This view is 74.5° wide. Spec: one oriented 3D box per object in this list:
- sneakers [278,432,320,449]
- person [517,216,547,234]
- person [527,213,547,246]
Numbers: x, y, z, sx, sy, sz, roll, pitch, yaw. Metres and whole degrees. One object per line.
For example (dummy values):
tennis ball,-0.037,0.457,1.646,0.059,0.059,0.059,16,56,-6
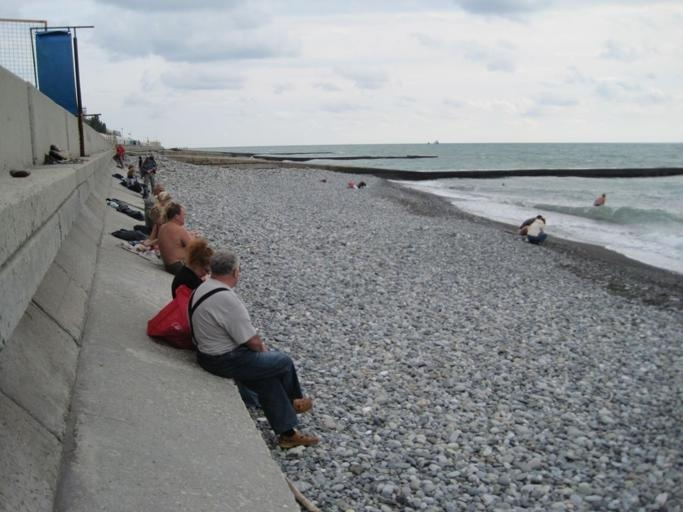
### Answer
sneakers,-0.532,2.156,5.349,0.511,0.188,0.177,-1,8,-15
person,8.109,-1.526,19.313,1.007,0.406,1.316,-19,8,40
person,8.173,-1.151,18.819,0.806,1.190,0.921,18,21,19
